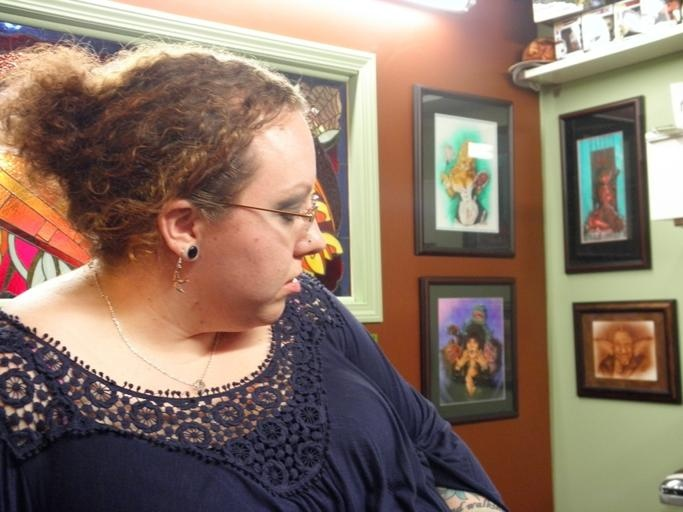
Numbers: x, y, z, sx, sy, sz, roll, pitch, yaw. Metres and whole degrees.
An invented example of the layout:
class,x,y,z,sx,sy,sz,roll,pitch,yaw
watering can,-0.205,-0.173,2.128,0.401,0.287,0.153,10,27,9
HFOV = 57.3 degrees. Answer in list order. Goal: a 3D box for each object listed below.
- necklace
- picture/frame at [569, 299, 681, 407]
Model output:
class,x,y,z,sx,sy,sz,roll,pitch,yaw
necklace,-0.343,0.130,1.113,0.036,0.256,0.188,-28,-1,43
picture/frame,1.240,0.417,2.695,0.468,0.473,0.049,-6,-9,44
